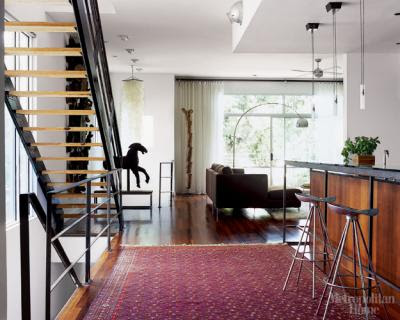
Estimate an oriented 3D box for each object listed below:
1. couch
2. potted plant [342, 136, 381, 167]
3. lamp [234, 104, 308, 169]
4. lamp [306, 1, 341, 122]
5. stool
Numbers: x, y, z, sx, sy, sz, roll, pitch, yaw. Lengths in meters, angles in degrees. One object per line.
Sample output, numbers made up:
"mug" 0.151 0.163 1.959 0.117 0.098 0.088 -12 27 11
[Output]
"couch" 1.008 0.581 6.763 1.598 0.957 1.191 -1 4 -10
"potted plant" 1.868 -0.096 3.825 0.416 0.345 0.456 -2 2 -2
"lamp" 1.875 -0.699 9.204 2.059 1.885 1.947 1 4 16
"lamp" 2.388 -1.780 6.383 0.798 1.676 1.791 1 5 8
"stool" 1.331 0.948 3.193 0.396 0.921 0.980 -2 0 -10
